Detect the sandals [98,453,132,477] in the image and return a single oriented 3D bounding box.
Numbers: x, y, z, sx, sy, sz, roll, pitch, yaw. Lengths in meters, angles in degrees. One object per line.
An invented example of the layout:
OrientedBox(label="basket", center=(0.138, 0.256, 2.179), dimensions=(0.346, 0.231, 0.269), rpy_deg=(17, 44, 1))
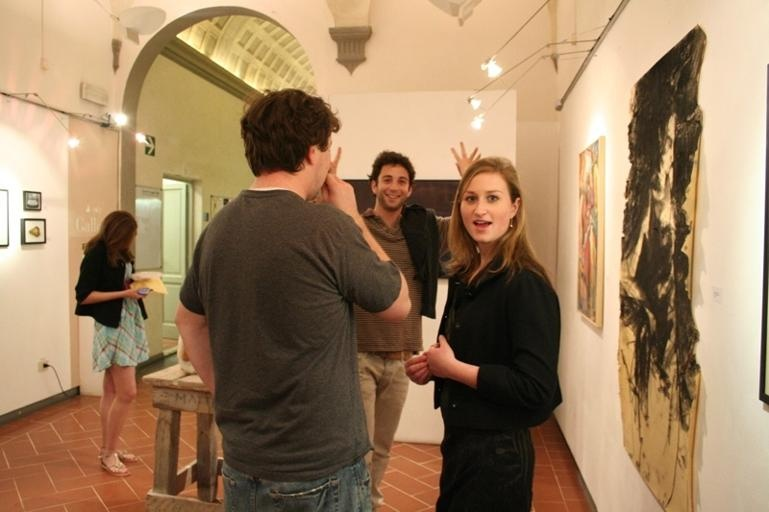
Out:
OrientedBox(label="sandals", center=(-2.468, 1.886, 5.035), dimensions=(0.381, 0.160, 0.136), rpy_deg=(4, -2, 33))

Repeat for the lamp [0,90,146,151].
OrientedBox(label="lamp", center=(-3.739, -1.726, 6.652), dimensions=(0.177, 0.335, 1.231), rpy_deg=(13, 1, 28))

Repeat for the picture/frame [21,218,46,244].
OrientedBox(label="picture/frame", center=(-3.956, -0.272, 6.169), dimensions=(0.032, 0.250, 0.293), rpy_deg=(-2, -2, 21))

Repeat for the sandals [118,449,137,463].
OrientedBox(label="sandals", center=(-2.435, 1.891, 5.213), dimensions=(0.178, 0.049, 0.082), rpy_deg=(2, 0, 20))

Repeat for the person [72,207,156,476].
OrientedBox(label="person", center=(-2.504, 0.764, 5.124), dimensions=(0.692, 2.319, 0.572), rpy_deg=(6, 11, 29))

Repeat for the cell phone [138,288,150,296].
OrientedBox(label="cell phone", center=(-2.219, 0.336, 5.103), dimensions=(0.075, 0.075, 0.074), rpy_deg=(13, -14, 19))
